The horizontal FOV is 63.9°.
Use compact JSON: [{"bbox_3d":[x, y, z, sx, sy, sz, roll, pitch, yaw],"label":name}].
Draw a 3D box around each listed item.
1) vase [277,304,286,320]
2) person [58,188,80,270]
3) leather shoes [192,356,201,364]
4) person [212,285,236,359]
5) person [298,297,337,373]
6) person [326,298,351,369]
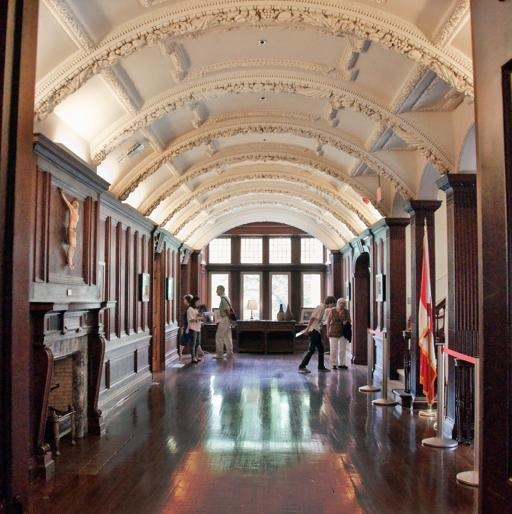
[{"bbox_3d":[0.954,2.042,14.997,0.306,0.601,0.717,1,-8,2],"label":"vase"},{"bbox_3d":[-2.391,-0.316,5.251,0.148,0.942,0.668,2,-7,-12],"label":"person"},{"bbox_3d":[-1.778,3.118,12.325,0.094,0.143,0.320,1,1,10],"label":"leather shoes"},{"bbox_3d":[-1.025,2.098,13.157,0.569,2.254,0.776,-2,-7,23],"label":"person"},{"bbox_3d":[1.599,1.988,10.611,0.897,1.965,1.606,0,-7,11],"label":"person"},{"bbox_3d":[2.228,1.997,10.934,0.544,2.045,0.532,1,16,13],"label":"person"}]
